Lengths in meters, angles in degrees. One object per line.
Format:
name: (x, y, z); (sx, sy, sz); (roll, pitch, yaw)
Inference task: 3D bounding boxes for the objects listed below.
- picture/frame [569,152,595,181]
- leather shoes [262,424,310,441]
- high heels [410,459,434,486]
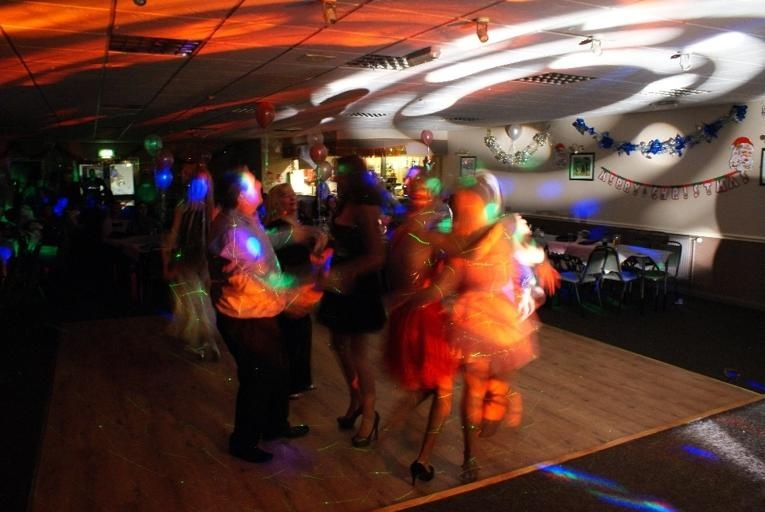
picture/frame: (4.432, -1.981, 10.623); (0.074, 0.696, 0.836); (2, 2, -35)
leather shoes: (-0.788, 1.465, 4.050); (0.415, 0.125, 0.123); (-4, 5, -20)
high heels: (0.281, 1.585, 3.542); (0.097, 0.113, 0.283); (4, 5, 34)
